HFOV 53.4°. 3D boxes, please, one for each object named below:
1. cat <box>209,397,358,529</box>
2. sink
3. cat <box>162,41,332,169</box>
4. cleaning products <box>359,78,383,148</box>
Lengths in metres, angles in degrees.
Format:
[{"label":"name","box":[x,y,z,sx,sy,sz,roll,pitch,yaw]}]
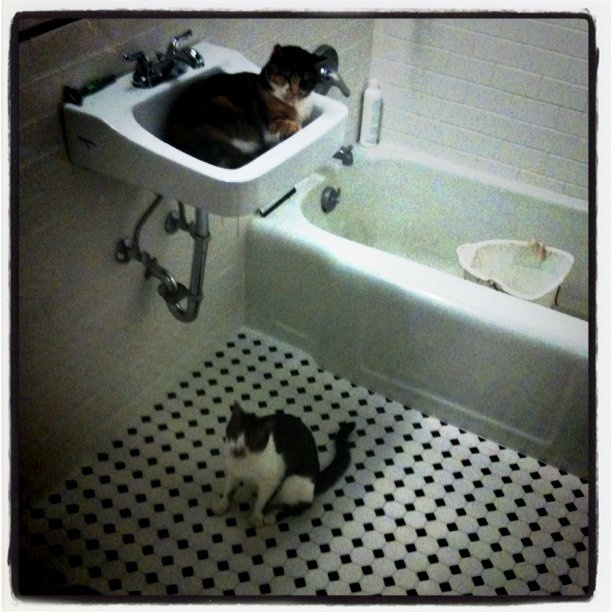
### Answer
[{"label":"cat","box":[-0.066,0.311,1.311,0.141,0.270,0.349,12,10,30]},{"label":"sink","box":[-0.168,-0.336,1.133,0.345,0.127,0.464,32,53,20]},{"label":"cat","box":[-0.124,-0.410,1.215,0.319,0.168,0.220,-29,48,-27]},{"label":"cleaning products","box":[0.183,-0.526,1.677,0.079,0.191,0.050,-5,45,-10]}]
